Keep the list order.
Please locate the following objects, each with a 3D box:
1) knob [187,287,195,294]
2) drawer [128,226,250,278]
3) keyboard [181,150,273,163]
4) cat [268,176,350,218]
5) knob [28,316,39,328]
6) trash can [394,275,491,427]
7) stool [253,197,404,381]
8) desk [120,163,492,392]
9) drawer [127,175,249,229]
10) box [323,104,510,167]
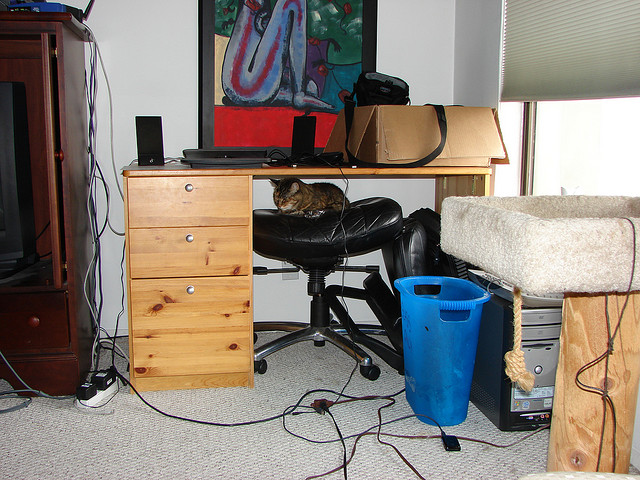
[{"bbox_3d":[-0.525,0.200,2.132,0.027,0.028,0.008,2,6,-12],"label":"knob"},{"bbox_3d":[-0.506,0.047,2.354,0.586,0.183,0.555,-2,-1,20],"label":"drawer"},{"bbox_3d":[-0.402,-0.357,2.259,0.390,0.067,0.257,-2,12,-4],"label":"keyboard"},{"bbox_3d":[-0.046,-0.200,2.454,0.318,0.136,0.208,-1,2,-13],"label":"cat"},{"bbox_3d":[-1.159,0.328,2.133,0.041,0.045,0.012,-1,14,4],"label":"knob"},{"bbox_3d":[0.459,0.422,2.051,0.291,0.529,0.326,-5,14,-13],"label":"trash can"},{"bbox_3d":[0.007,0.211,2.534,0.789,0.617,0.714,4,6,-6],"label":"stool"},{"bbox_3d":[0.085,0.144,2.321,1.703,0.882,0.565,-2,-1,5],"label":"desk"},{"bbox_3d":[-0.632,-0.157,2.220,0.350,0.236,0.605,6,8,38],"label":"drawer"},{"bbox_3d":[0.459,-0.462,2.312,0.451,0.142,0.409,0,4,-15],"label":"box"}]
